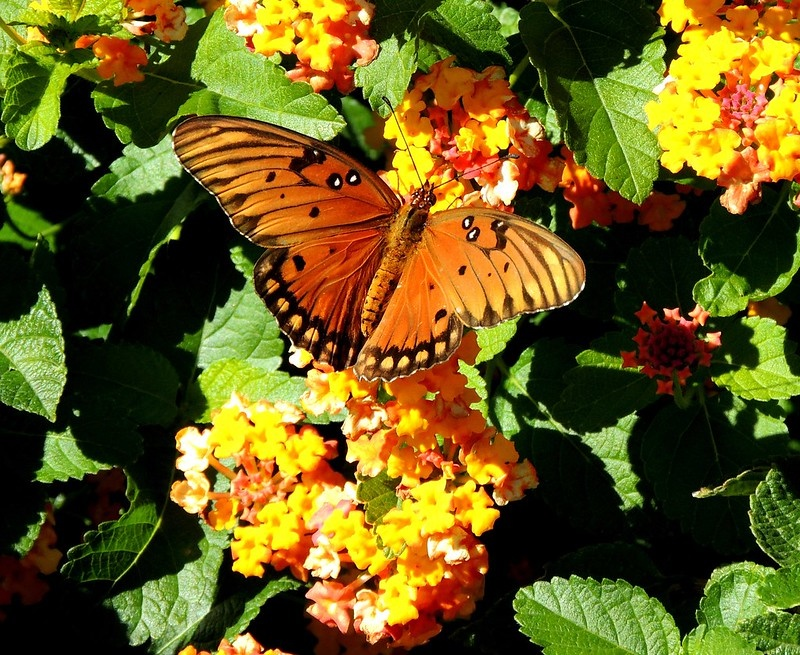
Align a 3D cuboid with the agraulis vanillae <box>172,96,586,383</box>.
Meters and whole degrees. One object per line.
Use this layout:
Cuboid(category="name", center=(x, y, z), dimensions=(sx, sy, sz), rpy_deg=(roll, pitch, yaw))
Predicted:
Cuboid(category="agraulis vanillae", center=(-0.067, -0.195, 2.653), dimensions=(0.990, 0.549, 0.565), rpy_deg=(-7, 49, -14))
